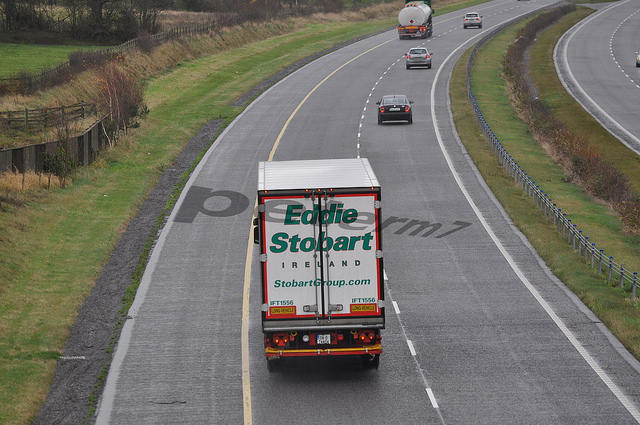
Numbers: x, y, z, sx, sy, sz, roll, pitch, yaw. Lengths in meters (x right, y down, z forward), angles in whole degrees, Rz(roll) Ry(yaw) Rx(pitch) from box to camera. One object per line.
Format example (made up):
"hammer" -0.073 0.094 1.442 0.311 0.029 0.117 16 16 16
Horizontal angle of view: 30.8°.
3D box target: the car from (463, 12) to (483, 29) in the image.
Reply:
"car" 16.921 -21.141 128.193 1.924 1.545 2.400 0 21 8

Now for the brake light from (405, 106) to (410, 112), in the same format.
"brake light" 5.988 -7.131 79.504 0.285 0.300 0.281 0 -1 -1

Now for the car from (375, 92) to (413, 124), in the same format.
"car" 5.147 -7.052 80.254 2.312 1.750 1.493 0 20 9

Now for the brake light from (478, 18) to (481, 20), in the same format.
"brake light" 17.462 -21.248 127.325 0.186 0.091 0.198 0 27 -2

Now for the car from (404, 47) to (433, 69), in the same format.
"car" 8.478 -13.163 100.000 2.110 1.677 1.343 -2 20 4

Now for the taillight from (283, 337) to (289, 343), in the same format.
"taillight" -1.556 5.734 52.188 0.133 0.183 0.263 1 6 4

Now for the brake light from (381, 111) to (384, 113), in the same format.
"brake light" 4.280 -6.926 79.666 0.181 0.099 0.041 1 19 11

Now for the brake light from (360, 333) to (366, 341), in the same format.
"brake light" 1.929 5.581 52.072 0.229 0.236 0.238 1 -7 -7

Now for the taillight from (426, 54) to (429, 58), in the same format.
"taillight" 9.216 -13.431 99.525 0.158 0.254 0.440 8 23 28

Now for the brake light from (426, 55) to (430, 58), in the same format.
"brake light" 9.236 -13.439 99.557 0.152 0.244 0.519 9 24 30

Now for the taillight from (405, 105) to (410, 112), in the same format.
"taillight" 5.963 -7.146 79.533 0.304 0.251 0.526 1 11 3

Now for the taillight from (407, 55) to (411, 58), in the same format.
"taillight" 7.645 -13.443 99.695 0.271 0.189 0.186 -1 20 5

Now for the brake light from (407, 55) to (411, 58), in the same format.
"brake light" 7.645 -13.443 99.695 0.271 0.189 0.186 -1 20 5
